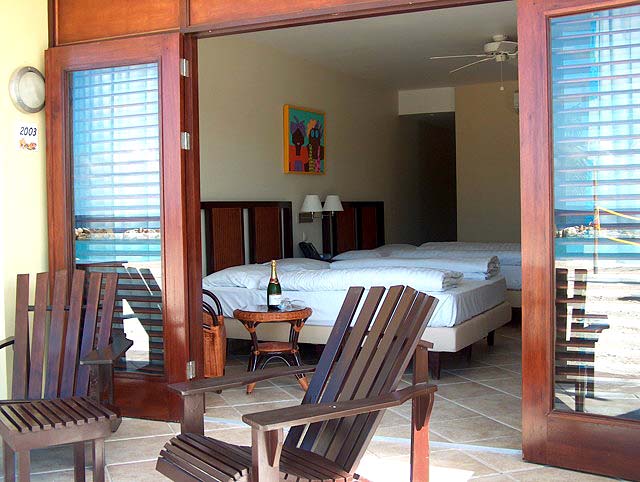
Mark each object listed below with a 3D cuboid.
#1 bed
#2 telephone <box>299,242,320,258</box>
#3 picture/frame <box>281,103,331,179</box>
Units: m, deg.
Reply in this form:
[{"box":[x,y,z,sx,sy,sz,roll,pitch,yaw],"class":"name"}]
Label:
[{"box":[0.244,0.381,4.852,2.545,1.134,1.772,-1,3,14],"class":"bed"},{"box":[-0.147,0.108,6.556,0.251,0.234,0.188,-6,3,-3],"class":"telephone"},{"box":[-0.198,-1.260,6.627,0.070,0.834,0.770,0,3,36],"class":"picture/frame"}]
